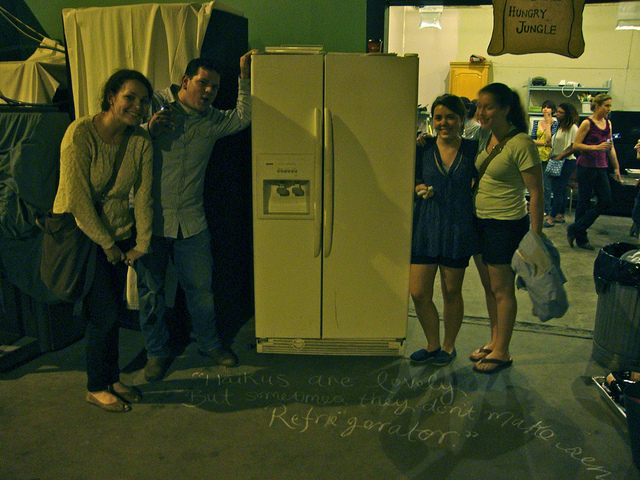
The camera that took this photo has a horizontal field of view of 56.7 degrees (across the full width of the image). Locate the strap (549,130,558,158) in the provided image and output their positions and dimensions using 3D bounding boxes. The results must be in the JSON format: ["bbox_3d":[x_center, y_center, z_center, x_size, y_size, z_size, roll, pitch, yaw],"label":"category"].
[{"bbox_3d":[3.092,-1.240,7.873,0.043,0.477,0.041,2,18,0],"label":"strap"}]

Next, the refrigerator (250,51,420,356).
[{"bbox_3d":[0.150,-0.221,4.683,1.100,2.314,0.936,1,10,4],"label":"refrigerator"}]

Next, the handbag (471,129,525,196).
[{"bbox_3d":[1.238,-0.532,4.145,0.322,0.462,0.151,6,12,19],"label":"handbag"}]

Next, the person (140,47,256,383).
[{"bbox_3d":[-0.887,-0.144,4.211,0.796,2.290,0.281,-3,12,-20],"label":"person"}]

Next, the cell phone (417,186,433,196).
[{"bbox_3d":[0.736,-0.336,4.157,0.067,0.026,0.069,-22,10,-29],"label":"cell phone"}]

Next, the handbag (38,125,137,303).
[{"bbox_3d":[-1.595,-0.136,3.774,0.306,1.113,0.124,9,14,-8],"label":"handbag"}]

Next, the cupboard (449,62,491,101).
[{"bbox_3d":[2.560,-2.705,10.189,0.675,0.619,0.374,5,13,14],"label":"cupboard"}]

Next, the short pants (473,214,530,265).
[{"bbox_3d":[1.272,0.004,4.212,0.253,0.401,0.314,2,15,-2],"label":"short pants"}]

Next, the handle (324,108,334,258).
[{"bbox_3d":[0.057,-0.379,4.087,0.054,1.000,0.091,-2,12,-14],"label":"handle"}]

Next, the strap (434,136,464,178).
[{"bbox_3d":[0.911,-0.570,4.197,0.153,0.300,0.070,0,7,13],"label":"strap"}]
